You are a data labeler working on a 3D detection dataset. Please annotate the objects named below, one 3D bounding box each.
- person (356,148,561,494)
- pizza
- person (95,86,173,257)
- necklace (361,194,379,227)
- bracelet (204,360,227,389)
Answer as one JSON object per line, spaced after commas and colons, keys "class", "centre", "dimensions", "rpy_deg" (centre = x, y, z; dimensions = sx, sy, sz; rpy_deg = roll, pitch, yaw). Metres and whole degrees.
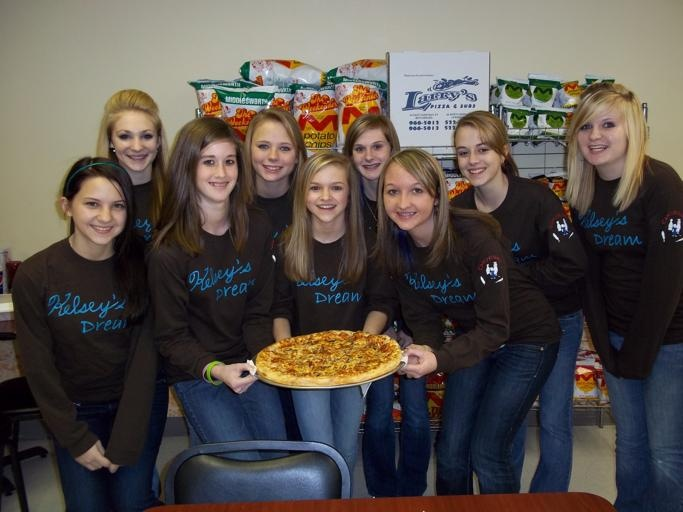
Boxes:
{"class": "person", "centre": [0.552, 0.368, 2.894], "dimensions": [0.906, 1.767, 0.764], "rpy_deg": [11, 23, 34]}
{"class": "pizza", "centre": [-0.079, 0.502, 2.720], "dimensions": [0.420, 0.047, 0.352], "rpy_deg": [-7, 15, -28]}
{"class": "person", "centre": [-1.238, -0.333, 3.423], "dimensions": [0.506, 1.341, 0.303], "rpy_deg": [-6, 38, -23]}
{"class": "necklace", "centre": [0.167, -0.280, 3.382], "dimensions": [0.137, 0.174, 0.063], "rpy_deg": [-1, -26, -28]}
{"class": "bracelet", "centre": [-0.599, 0.571, 2.728], "dimensions": [0.114, 0.059, 0.088], "rpy_deg": [38, 62, 23]}
